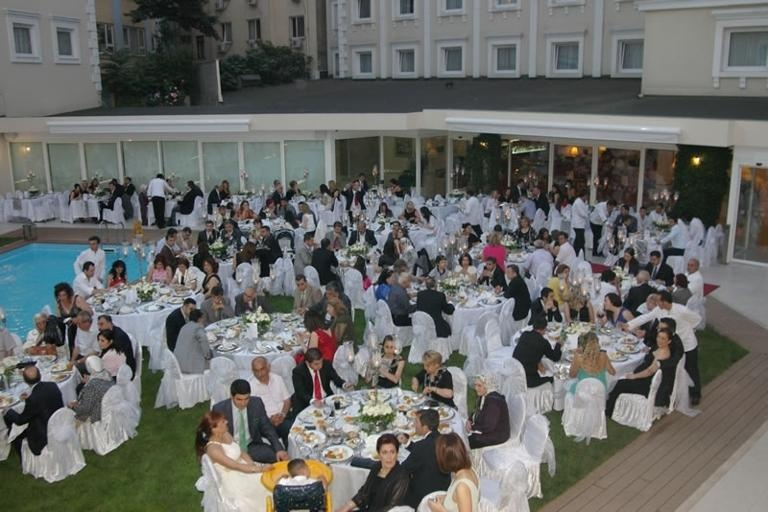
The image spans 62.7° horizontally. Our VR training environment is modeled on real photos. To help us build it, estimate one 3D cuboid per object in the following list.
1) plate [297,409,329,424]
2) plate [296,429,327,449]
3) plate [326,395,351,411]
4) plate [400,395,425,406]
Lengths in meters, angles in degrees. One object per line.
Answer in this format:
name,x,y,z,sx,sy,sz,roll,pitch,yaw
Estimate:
plate,-1.065,2.433,9.584,0.372,0.098,0.414,8,16,38
plate,-1.071,2.675,9.155,0.483,0.130,0.322,1,13,14
plate,-0.710,2.277,9.866,0.457,0.120,0.393,1,13,15
plate,0.443,2.255,9.731,0.372,0.071,0.249,-1,13,5
